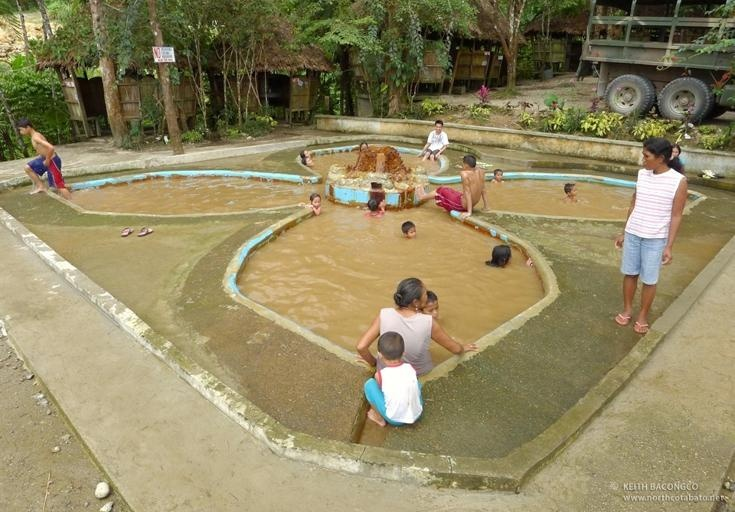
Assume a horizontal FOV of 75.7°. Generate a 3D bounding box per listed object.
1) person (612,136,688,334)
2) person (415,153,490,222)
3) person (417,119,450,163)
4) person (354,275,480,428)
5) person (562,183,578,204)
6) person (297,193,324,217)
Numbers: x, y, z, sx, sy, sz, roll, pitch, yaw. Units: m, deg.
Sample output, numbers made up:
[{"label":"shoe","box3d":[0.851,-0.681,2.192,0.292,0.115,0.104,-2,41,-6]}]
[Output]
[{"label":"person","box3d":[3.639,-0.235,6.189,0.604,2.536,0.478,17,28,35]},{"label":"person","box3d":[1.843,-1.627,10.664,0.853,1.251,1.700,-16,23,-42]},{"label":"person","box3d":[1.972,-3.745,14.742,0.930,0.662,1.167,-12,-23,7]},{"label":"person","box3d":[0.372,1.082,5.508,0.863,1.512,1.078,13,25,29]},{"label":"person","box3d":[5.046,-1.648,11.765,0.320,0.439,1.195,10,24,21]},{"label":"person","box3d":[-1.295,-1.204,10.688,0.491,0.412,0.774,-1,22,-5]}]
